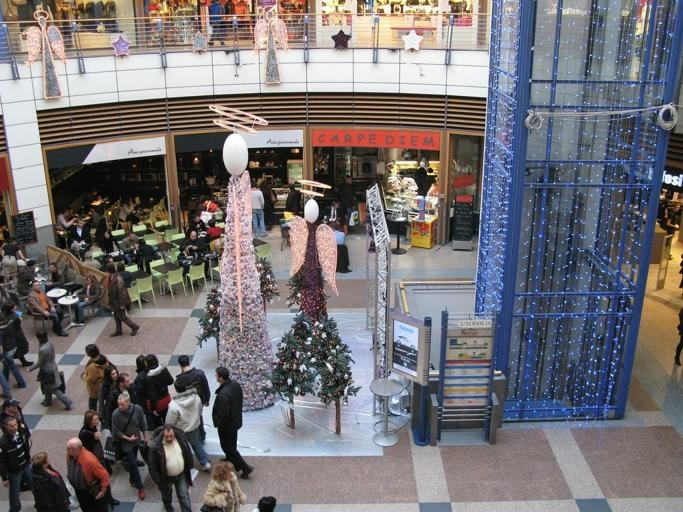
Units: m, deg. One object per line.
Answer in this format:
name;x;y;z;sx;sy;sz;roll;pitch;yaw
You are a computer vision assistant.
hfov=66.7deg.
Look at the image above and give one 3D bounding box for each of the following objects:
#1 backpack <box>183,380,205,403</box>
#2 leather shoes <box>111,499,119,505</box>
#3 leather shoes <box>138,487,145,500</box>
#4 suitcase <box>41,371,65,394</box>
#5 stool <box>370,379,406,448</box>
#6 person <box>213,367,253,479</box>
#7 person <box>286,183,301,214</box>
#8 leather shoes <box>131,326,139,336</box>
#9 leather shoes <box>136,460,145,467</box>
backpack;-2.081;1.888;7.238;0.320;0.333;0.184;-9;33;1
leather shoes;-3.059;3.334;7.005;0.113;0.081;0.038;0;40;-13
leather shoes;-2.754;3.279;7.140;0.056;0.104;0.168;-7;20;-25
suitcase;-4.919;2.147;8.947;0.454;0.448;0.327;-1;7;-27
stool;0.742;2.562;8.351;0.581;0.886;0.559;-14;35;-20
person;-1.543;2.330;7.228;0.460;1.729;0.358;-8;21;-17
person;-1.532;-1.784;16.182;0.483;1.117;0.935;-1;20;2
leather shoes;-4.441;1.607;11.120;0.073;0.186;0.130;22;17;-15
leather shoes;-2.979;3.086;7.702;0.118;0.081;0.040;-2;29;-1
